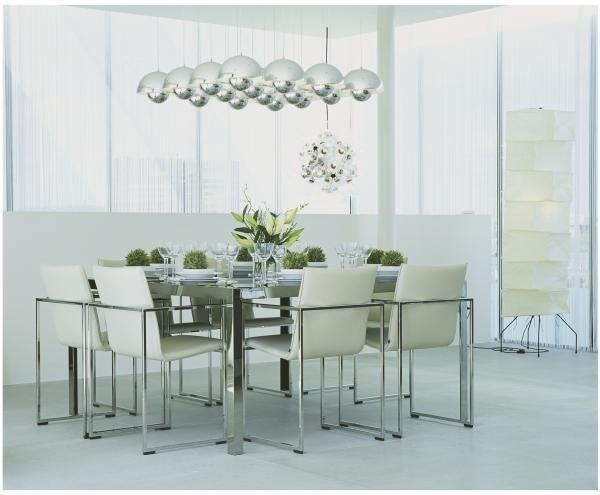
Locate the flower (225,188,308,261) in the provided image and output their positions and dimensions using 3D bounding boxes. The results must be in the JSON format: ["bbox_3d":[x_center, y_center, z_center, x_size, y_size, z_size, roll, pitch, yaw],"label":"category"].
[{"bbox_3d":[-0.165,-0.132,4.798,0.601,0.530,0.537,0,0,-35],"label":"flower"}]

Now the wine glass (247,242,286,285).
[{"bbox_3d":[-0.228,0.099,4.370,0.235,0.265,0.248,1,-1,-10],"label":"wine glass"}]
